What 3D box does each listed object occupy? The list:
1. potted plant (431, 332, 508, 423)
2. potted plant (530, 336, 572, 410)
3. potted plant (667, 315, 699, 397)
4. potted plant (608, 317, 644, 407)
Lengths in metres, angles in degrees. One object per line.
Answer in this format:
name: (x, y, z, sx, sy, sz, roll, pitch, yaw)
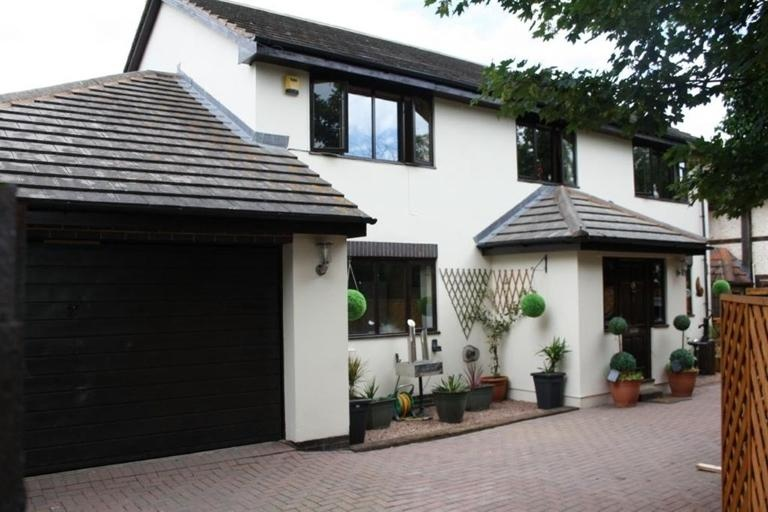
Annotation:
potted plant: (1.783, 2.961, 12.962, 0.944, 1.344, 2.087, -5, -11, 32)
potted plant: (3.777, 2.642, 13.405, 0.575, 1.571, 0.700, 4, 4, 43)
potted plant: (7.679, 2.523, 15.169, 0.676, 1.876, 2.096, 3, 3, 28)
potted plant: (5.611, 2.446, 13.757, 0.753, 2.022, 1.029, 3, 3, 23)
